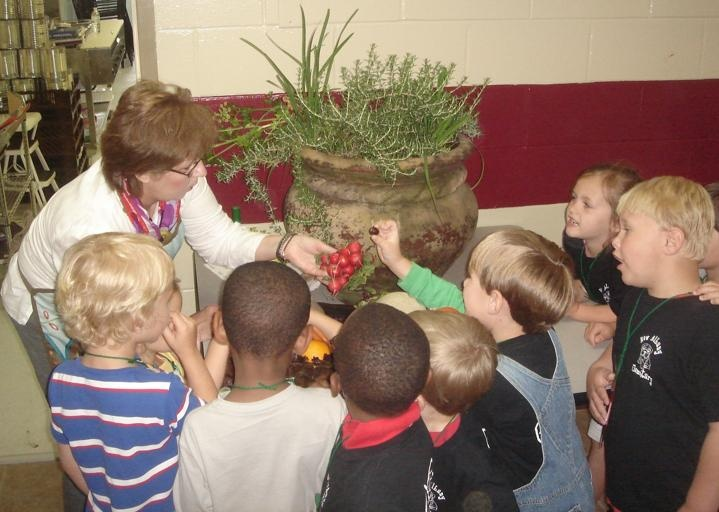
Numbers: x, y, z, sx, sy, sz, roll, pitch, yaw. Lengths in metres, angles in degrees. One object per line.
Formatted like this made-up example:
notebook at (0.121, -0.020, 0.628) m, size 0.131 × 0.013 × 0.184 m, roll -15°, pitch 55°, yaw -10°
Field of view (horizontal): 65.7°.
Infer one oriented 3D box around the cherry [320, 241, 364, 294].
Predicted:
cherry at (-0.061, 0.031, 1.754) m, size 0.141 × 0.150 × 0.108 m, roll -1°, pitch 26°, yaw -16°

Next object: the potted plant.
potted plant at (0.055, -0.213, 2.085) m, size 0.644 × 1.310 × 0.993 m, roll -13°, pitch 28°, yaw -28°
